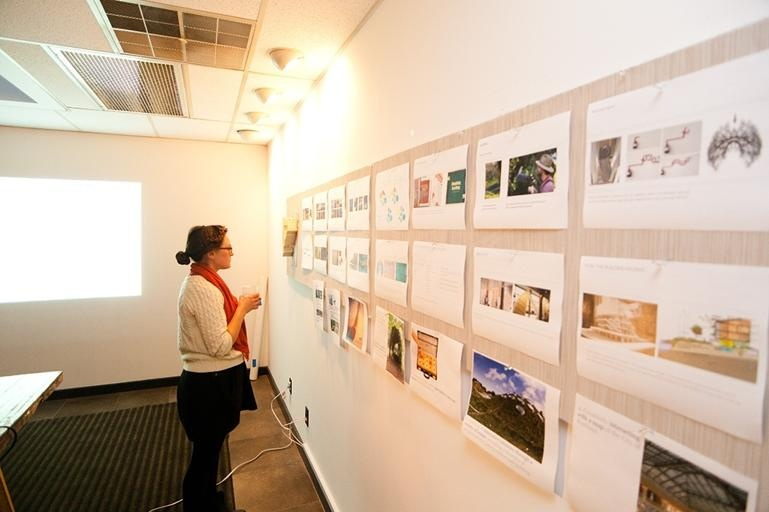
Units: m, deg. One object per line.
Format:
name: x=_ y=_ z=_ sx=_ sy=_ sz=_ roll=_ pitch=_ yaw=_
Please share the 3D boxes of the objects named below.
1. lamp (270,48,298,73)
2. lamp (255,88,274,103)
lamp: x=-0.527 y=-1.036 z=2.497 sx=0.142 sy=0.087 sz=0.158 roll=-4 pitch=10 yaw=-33
lamp: x=-0.762 y=-1.013 z=3.006 sx=0.073 sy=0.058 sz=0.079 roll=1 pitch=4 yaw=25
